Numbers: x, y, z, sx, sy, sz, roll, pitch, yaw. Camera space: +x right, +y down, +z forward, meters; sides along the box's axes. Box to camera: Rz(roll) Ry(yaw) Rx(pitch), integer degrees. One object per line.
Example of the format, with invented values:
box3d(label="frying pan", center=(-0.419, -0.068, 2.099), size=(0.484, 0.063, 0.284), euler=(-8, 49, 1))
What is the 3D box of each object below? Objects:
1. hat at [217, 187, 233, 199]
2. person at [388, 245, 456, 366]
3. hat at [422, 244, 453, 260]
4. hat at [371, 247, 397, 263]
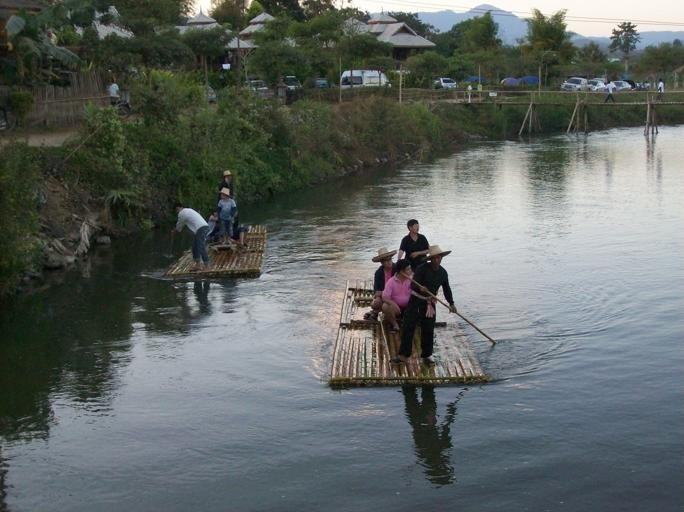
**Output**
box3d(label="hat", center=(-4.078, -2.250, 30.874), size=(0.347, 0.362, 0.915), euler=(-2, 2, -5))
box3d(label="person", center=(2.092, 1.250, 22.382), size=(1.423, 2.977, 0.809), euler=(-1, 3, 4))
box3d(label="hat", center=(2.385, -0.084, 22.420), size=(0.485, 0.206, 0.588), euler=(-14, -8, -6))
box3d(label="hat", center=(1.071, -0.082, 24.527), size=(0.485, 0.211, 0.558), euler=(-9, -20, -34))
